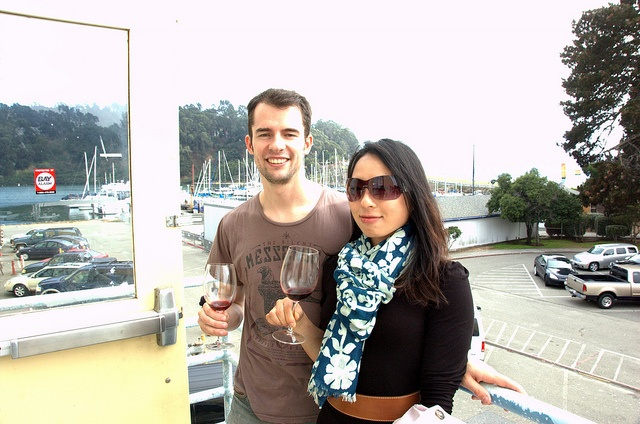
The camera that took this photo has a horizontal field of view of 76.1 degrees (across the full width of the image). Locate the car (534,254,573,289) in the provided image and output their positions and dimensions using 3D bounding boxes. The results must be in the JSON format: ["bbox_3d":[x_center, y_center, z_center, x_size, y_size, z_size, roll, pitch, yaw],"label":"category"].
[{"bbox_3d":[11.401,2.896,20.229,1.090,0.860,2.534,-1,-1,9],"label":"car"}]

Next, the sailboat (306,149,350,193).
[{"bbox_3d":[0.879,-7.694,75.652,7.170,4.742,12.648,1,5,-2],"label":"sailboat"}]

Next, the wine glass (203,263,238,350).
[{"bbox_3d":[-0.599,0.451,2.411,0.206,0.307,0.141,0,3,-6],"label":"wine glass"}]

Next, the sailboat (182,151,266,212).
[{"bbox_3d":[-14.696,-4.285,57.434,13.897,6.380,10.924,2,24,19],"label":"sailboat"}]
